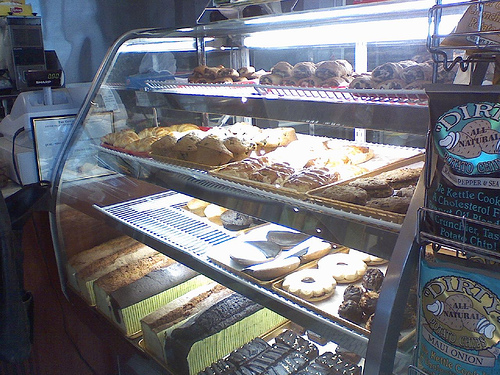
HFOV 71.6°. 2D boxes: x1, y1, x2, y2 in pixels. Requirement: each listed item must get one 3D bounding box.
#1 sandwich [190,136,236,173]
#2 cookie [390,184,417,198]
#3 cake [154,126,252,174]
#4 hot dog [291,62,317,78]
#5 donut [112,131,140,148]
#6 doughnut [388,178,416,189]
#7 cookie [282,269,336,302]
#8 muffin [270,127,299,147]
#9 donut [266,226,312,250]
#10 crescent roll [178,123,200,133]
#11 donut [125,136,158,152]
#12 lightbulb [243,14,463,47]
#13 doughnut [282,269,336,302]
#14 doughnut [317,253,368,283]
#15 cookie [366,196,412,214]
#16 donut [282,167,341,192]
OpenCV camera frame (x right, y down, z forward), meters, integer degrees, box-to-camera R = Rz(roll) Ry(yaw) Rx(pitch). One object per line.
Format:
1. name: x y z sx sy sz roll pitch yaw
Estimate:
1. sandwich: -0.129 -0.116 1.383 0.179 0.132 0.163 9 1 3
2. cookie: 0.408 0.003 0.912 0.049 0.010 0.036 -19 8 -24
3. cake: -0.161 -0.177 1.421 0.208 0.078 0.306 -9 -20 4
4. hot dog: 0.183 -0.413 1.193 0.062 0.025 0.081 12 34 26
5. donut: -0.619 -0.248 1.751 0.083 0.046 0.143 -21 19 -9
6. doughnut: 0.430 -0.009 0.980 0.041 0.013 0.040 -21 -5 16
7. cookie: 0.198 0.306 1.123 0.186 0.039 0.145 -13 23 -28
8. muffin: 0.157 -0.239 1.549 0.099 0.042 0.097 -29 38 -32
9. donut: 0.146 0.172 1.382 0.154 0.032 0.132 12 24 37
10. crescent roll: -0.321 -0.309 1.758 0.066 0.017 0.059 13 24 32
11. donut: -0.527 -0.188 1.637 0.094 0.053 0.169 -2 3 -43
12. lightbulb: 0.258 -0.555 1.280 0.175 0.056 0.809 -17 25 -35
13. doughnut: 0.186 0.289 1.142 0.161 0.072 0.136 -9 15 -35
14. doughnut: 0.319 0.276 1.186 0.155 0.029 0.139 -2 14 -3
15. cookie: 0.350 0.035 0.881 0.067 0.031 0.118 -21 28 -41
16. donut: 0.185 -0.026 1.098 0.175 0.049 0.141 7 22 23
